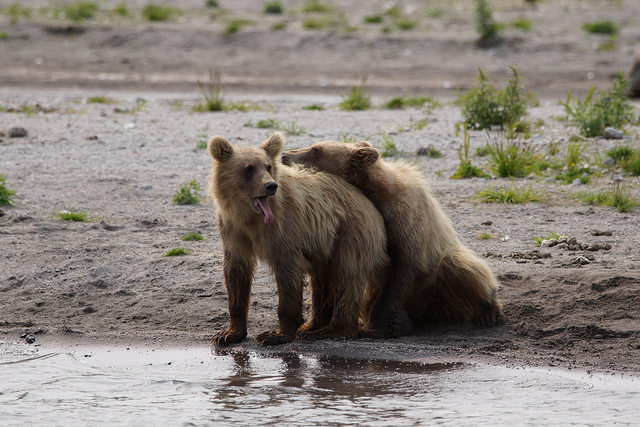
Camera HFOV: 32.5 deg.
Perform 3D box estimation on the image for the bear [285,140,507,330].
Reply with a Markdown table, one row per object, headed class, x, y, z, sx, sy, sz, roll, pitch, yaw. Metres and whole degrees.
| class | x | y | z | sx | sy | sz | roll | pitch | yaw |
| --- | --- | --- | --- | --- | --- | --- | --- | --- | --- |
| bear | 1.411 | 0.543 | 20.831 | 2.946 | 3.361 | 6.295 | 6 | -1 | -26 |
